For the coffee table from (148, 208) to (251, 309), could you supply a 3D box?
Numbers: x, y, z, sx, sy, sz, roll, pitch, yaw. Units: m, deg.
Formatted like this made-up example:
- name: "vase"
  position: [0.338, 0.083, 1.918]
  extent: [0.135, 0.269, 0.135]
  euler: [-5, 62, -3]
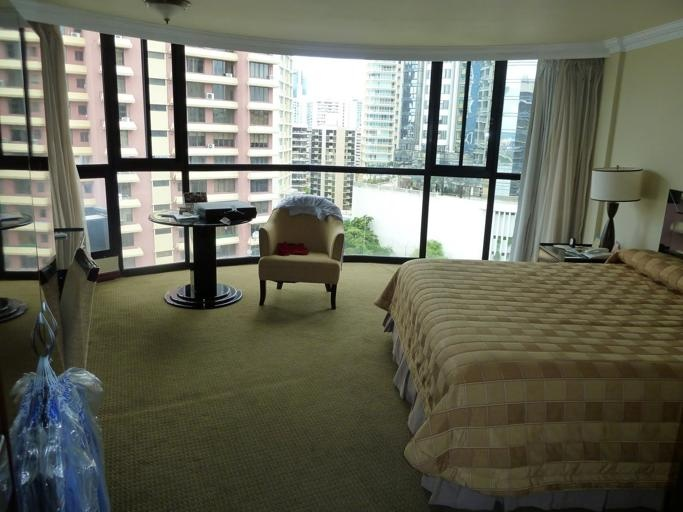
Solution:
- name: "coffee table"
  position: [-1.354, 0.010, 5.099]
  extent: [0.976, 0.795, 0.967]
  euler: [1, 11, -8]

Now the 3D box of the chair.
- name: "chair"
  position: [-0.380, -0.083, 5.177]
  extent: [0.815, 1.026, 0.846]
  euler: [0, 11, 0]

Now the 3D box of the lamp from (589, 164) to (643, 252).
- name: "lamp"
  position: [2.493, -0.429, 4.623]
  extent: [0.404, 0.768, 0.550]
  euler: [7, 13, 30]
